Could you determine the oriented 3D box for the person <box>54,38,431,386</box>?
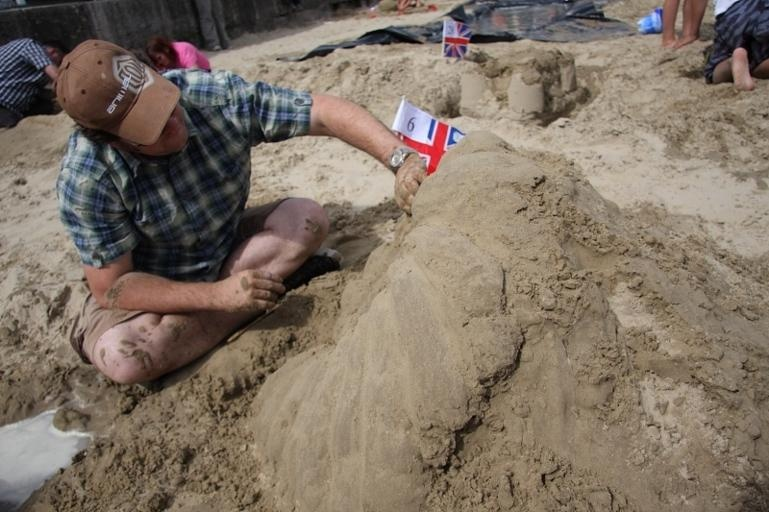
[{"bbox_3d":[-0.801,-0.177,4.004,1.111,1.268,1.640,28,65,31],"label":"person"}]

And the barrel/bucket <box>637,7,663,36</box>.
[{"bbox_3d":[2.349,-2.034,6.188,0.179,0.210,0.392,6,38,16],"label":"barrel/bucket"}]
